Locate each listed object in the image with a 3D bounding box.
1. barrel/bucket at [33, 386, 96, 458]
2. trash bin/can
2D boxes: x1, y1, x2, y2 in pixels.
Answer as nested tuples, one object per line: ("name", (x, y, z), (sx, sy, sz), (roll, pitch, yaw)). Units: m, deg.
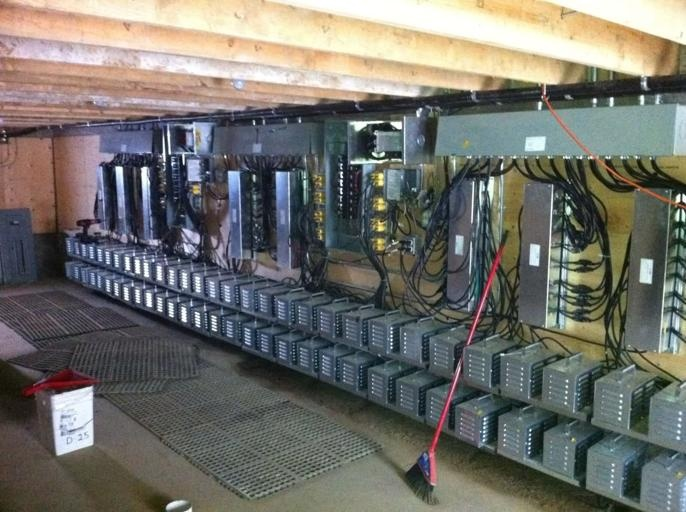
("barrel/bucket", (-2.316, 1.325, 4.945), (0.448, 0.572, 0.434), (4, 12, -1))
("trash bin/can", (-2.326, 1.301, 4.953), (0.534, 0.590, 0.452), (-3, 8, -30))
